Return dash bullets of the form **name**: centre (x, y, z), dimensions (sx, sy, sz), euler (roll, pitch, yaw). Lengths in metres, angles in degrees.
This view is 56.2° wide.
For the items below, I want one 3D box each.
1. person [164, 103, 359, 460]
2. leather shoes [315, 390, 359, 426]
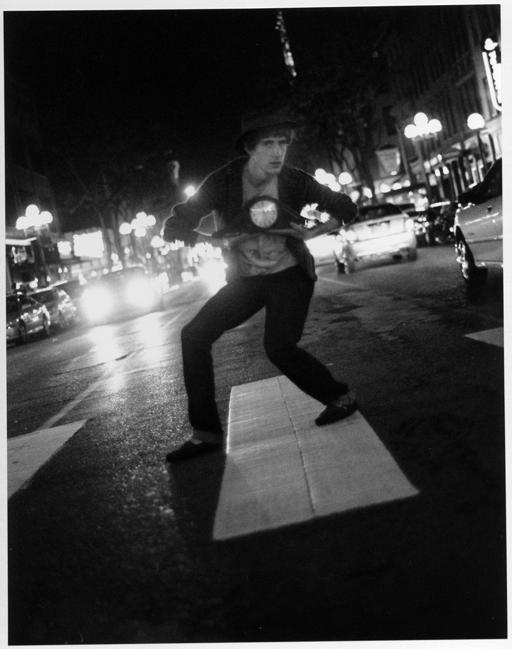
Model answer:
- **person**: centre (0.031, -0.217, 3.237), dimensions (1.255, 2.126, 0.634), euler (-9, 2, -14)
- **leather shoes**: centre (0.582, 0.602, 3.466), dimensions (0.239, 0.192, 0.086), euler (-33, 14, 1)
